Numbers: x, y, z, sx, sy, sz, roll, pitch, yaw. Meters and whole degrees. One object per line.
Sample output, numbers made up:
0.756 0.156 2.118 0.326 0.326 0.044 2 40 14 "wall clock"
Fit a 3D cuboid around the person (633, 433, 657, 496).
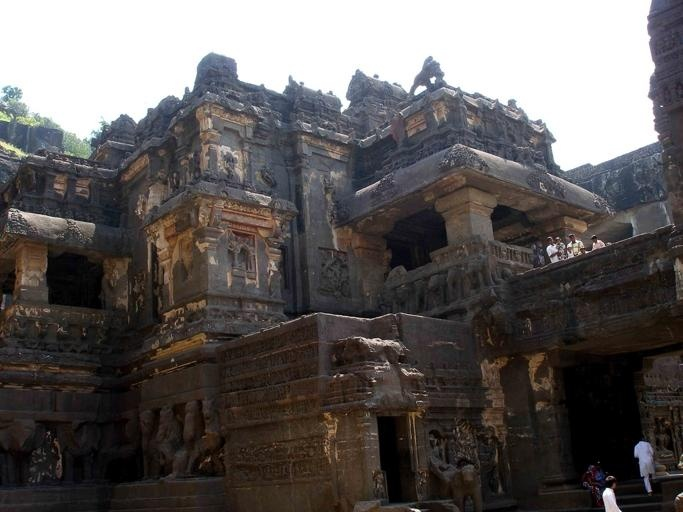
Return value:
7.123 4.899 18.016 0.376 1.303 1.104 -11 -24 18 "person"
